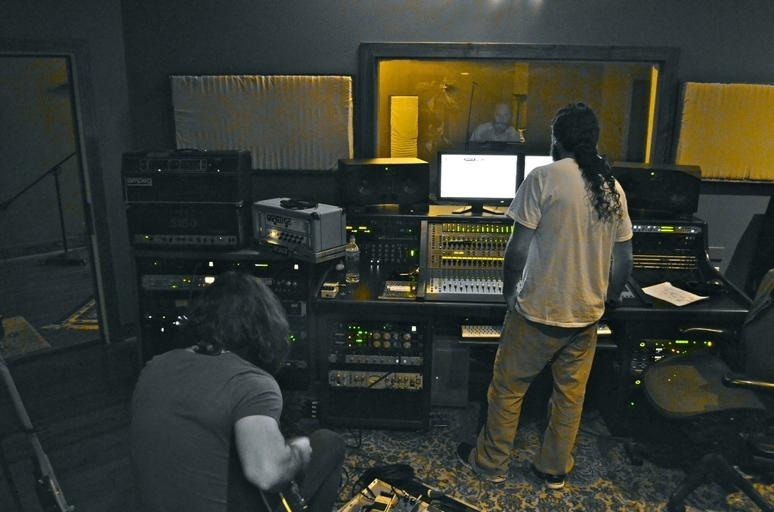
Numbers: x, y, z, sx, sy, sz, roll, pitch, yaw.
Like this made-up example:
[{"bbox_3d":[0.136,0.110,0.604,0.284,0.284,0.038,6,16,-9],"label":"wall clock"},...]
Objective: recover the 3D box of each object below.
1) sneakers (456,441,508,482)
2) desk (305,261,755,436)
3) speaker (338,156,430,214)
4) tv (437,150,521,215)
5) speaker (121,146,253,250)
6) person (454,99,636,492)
[{"bbox_3d":[0.690,1.478,5.005,0.151,0.277,0.426,-7,2,-30],"label":"sneakers"},{"bbox_3d":[0.318,0.681,5.558,3.067,1.027,1.170,0,23,3],"label":"desk"},{"bbox_3d":[-0.021,-0.532,5.296,0.747,0.422,0.427,0,11,1],"label":"speaker"},{"bbox_3d":[0.696,-0.578,5.275,0.610,0.408,0.149,0,9,3],"label":"tv"},{"bbox_3d":[-1.498,-0.435,5.384,0.977,0.791,0.400,1,12,12],"label":"speaker"},{"bbox_3d":[1.071,0.311,4.643,1.067,2.581,0.460,1,16,4],"label":"person"}]
